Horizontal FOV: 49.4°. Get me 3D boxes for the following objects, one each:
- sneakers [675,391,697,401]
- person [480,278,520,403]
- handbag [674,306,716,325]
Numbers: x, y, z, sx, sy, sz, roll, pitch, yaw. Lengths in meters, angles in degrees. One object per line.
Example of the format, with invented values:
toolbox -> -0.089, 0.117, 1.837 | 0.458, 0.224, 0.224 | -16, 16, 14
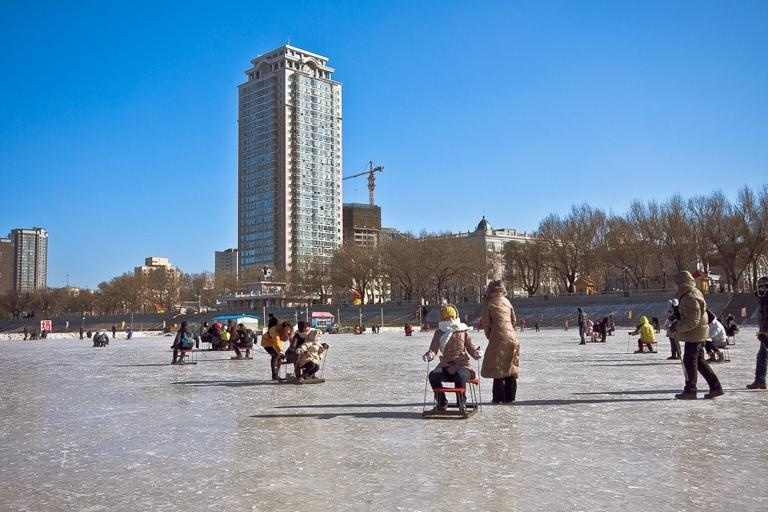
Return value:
sneakers -> 5.912, 2.711, 16.313 | 0.407, 0.171, 0.172 | 2, -6, 8
person -> 2.236, 1.644, 16.174 | 0.713, 2.392, 0.799 | -2, -6, 6
handbag -> 6.171, 1.178, 16.620 | 0.859, 0.434, 0.621 | -3, -9, 21
